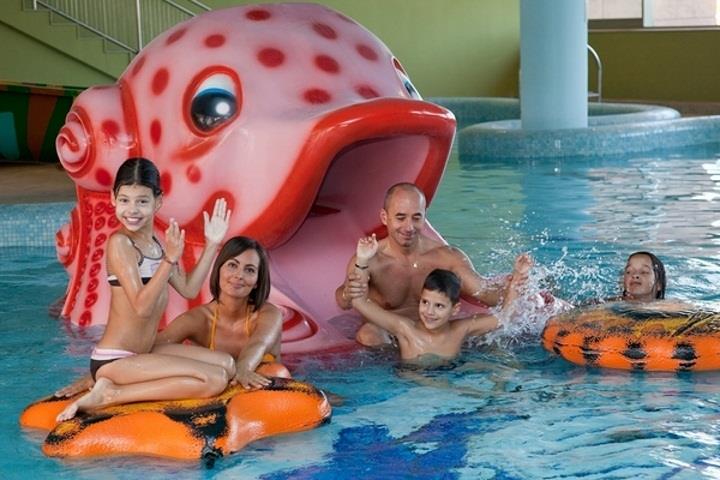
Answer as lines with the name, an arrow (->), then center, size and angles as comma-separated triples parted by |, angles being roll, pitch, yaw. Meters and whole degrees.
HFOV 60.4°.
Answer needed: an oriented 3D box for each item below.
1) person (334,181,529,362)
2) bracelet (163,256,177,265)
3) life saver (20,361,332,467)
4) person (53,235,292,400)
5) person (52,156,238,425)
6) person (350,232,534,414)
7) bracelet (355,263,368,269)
person -> 0.374, 0.183, 3.266 | 1.023, 0.786, 0.588 | -8, 24, -21
bracelet -> -0.693, 0.073, 2.267 | 0.035, 0.009, 0.033 | 21, 9, -40
life saver -> -0.591, 0.642, 2.176 | 1.005, 0.187, 0.227 | -3, 4, -15
person -> -0.658, 0.332, 2.376 | 0.651, 0.642, 1.130 | 5, 4, 11
person -> -0.667, 0.160, 2.766 | 0.989, 1.176, 0.692 | -2, 6, 0
person -> 0.383, 0.278, 2.981 | 0.594, 0.631, 0.747 | 1, 5, 38
bracelet -> 0.003, 0.121, 2.833 | 0.058, 0.024, 0.028 | -1, 4, 13
